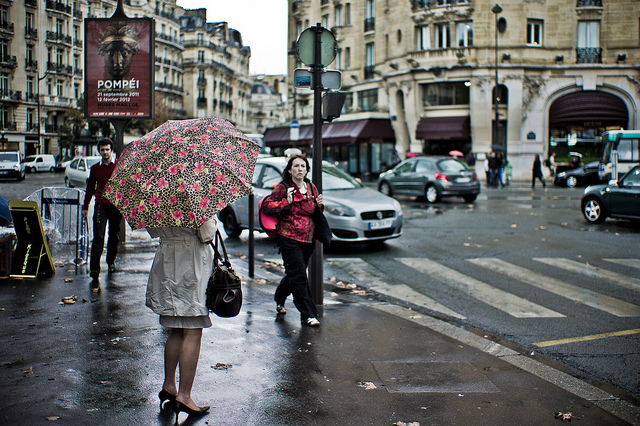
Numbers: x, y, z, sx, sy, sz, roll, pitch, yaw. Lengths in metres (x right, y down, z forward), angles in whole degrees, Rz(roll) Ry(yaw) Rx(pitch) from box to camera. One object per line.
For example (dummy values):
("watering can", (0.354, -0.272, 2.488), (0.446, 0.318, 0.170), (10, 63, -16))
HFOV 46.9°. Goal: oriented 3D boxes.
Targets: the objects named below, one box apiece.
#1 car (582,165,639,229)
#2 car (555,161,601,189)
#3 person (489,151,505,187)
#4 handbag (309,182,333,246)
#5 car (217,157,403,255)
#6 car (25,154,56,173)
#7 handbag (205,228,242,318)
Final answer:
("car", (7.905, -0.386, 19.996), (1.667, 1.027, 1.032), (4, 6, 41))
("car", (13.117, -1.794, 35.266), (1.480, 1.001, 3.018), (3, -4, -43))
("person", (8.929, -2.186, 37.074), (0.694, 1.731, 1.506), (4, 14, 10))
("handbag", (0.020, 0.020, 11.989), (0.426, 1.028, 0.233), (9, 15, 31))
("car", (-0.244, -0.178, 18.147), (2.149, 1.976, 4.587), (-3, 4, -43))
("car", (-23.024, -4.055, 60.687), (2.263, 1.200, 1.286), (1, 0, -43))
("handbag", (-1.285, 0.826, 9.897), (0.427, 1.144, 0.818), (-7, -2, -18))
